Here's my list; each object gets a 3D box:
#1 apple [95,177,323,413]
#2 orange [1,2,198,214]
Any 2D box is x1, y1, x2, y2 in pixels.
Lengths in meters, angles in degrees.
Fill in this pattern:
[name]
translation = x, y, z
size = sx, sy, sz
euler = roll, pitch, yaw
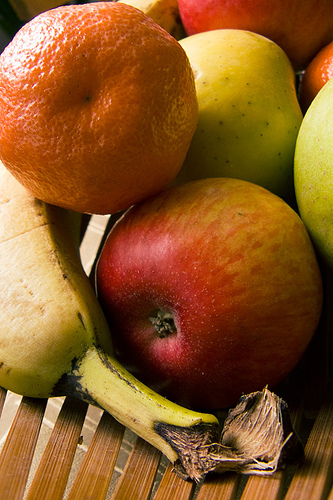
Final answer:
[apple]
translation = 0.051, 0.040, 0.508
size = 0.224, 0.225, 0.225
euler = 5, 99, -9
[orange]
translation = -0.058, -0.120, 0.395
size = 0.159, 0.138, 0.145
euler = -2, 65, 9
